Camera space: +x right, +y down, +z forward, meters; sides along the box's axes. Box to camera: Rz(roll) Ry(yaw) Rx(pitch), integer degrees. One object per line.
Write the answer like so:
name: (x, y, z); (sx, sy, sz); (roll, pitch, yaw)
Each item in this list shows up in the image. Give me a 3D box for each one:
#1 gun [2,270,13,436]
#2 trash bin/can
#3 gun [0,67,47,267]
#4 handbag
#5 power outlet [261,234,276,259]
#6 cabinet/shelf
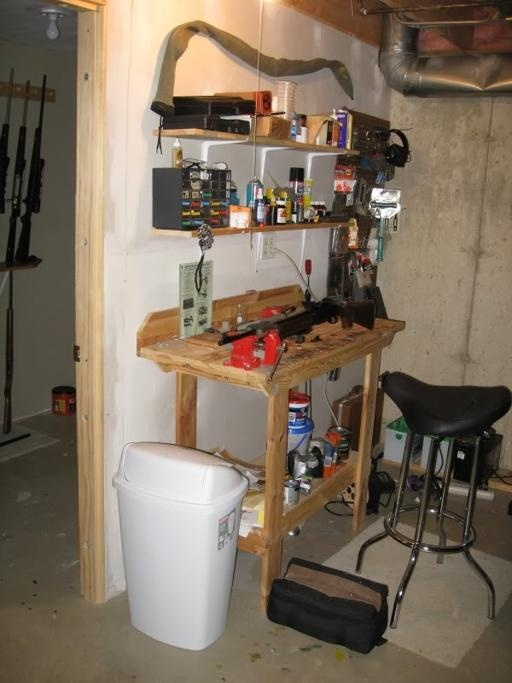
gun: (-1.669, 0.097, 3.653); (0.091, 1.128, 0.329); (-1, 9, -23)
trash bin/can: (-0.274, 0.703, 1.833); (0.432, 0.703, 0.237); (5, 8, 16)
gun: (-1.476, -1.140, 3.444); (0.181, 1.356, 0.314); (7, 18, -6)
handbag: (0.272, 0.909, 1.973); (0.316, 0.130, 0.233); (9, 13, 29)
power outlet: (0.062, -0.479, 2.736); (0.012, 0.117, 0.113); (6, 16, 24)
cabinet/shelf: (0.041, -0.692, 2.414); (0.264, 0.515, 1.271); (8, 10, 32)
